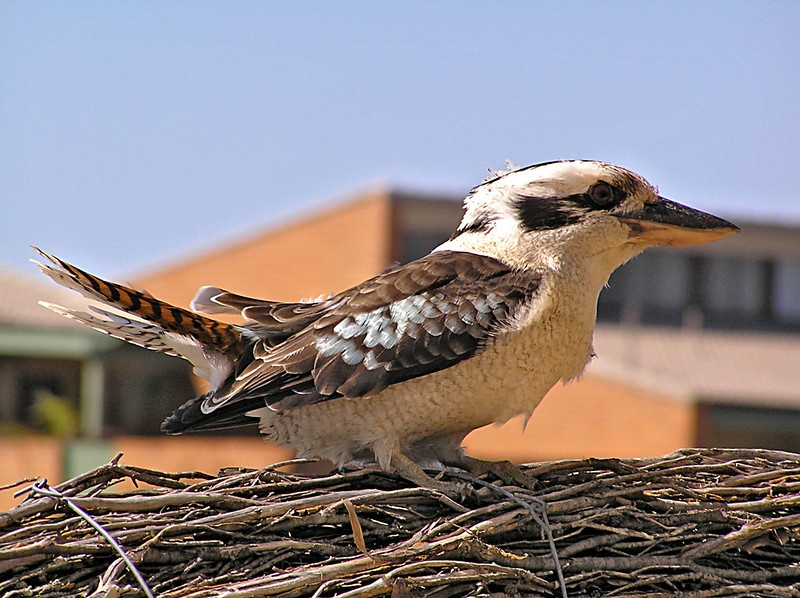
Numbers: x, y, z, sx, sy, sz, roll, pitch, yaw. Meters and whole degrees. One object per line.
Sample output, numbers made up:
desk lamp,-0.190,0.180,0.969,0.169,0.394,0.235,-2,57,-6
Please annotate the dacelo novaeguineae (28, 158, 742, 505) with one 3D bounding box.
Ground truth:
dacelo novaeguineae,0.067,0.070,4.954,2.341,0.836,0.768,-5,-4,37
